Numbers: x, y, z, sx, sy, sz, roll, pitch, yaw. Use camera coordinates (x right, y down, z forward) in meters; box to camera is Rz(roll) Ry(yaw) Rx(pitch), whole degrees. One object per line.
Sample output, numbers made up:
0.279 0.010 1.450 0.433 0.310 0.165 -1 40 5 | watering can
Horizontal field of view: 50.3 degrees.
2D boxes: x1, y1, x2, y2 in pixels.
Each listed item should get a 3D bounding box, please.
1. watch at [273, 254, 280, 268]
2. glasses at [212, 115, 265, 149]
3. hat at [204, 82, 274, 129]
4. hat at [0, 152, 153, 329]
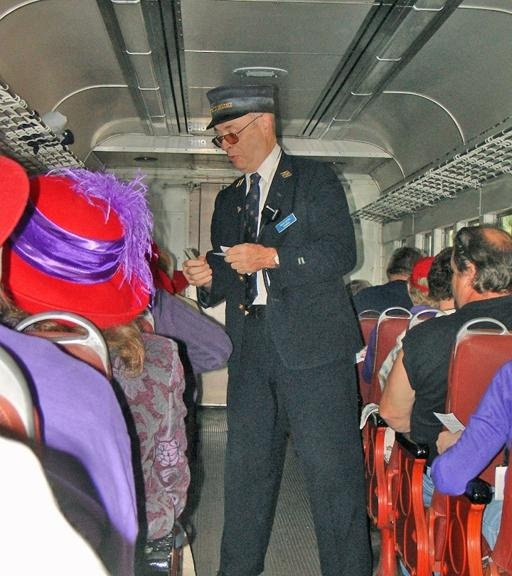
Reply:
0.079 -0.101 2.065 0.034 0.043 0.039 3 80 0 | watch
-0.050 -0.662 2.399 0.184 0.174 0.046 -31 101 -19 | glasses
-0.069 -0.838 2.498 0.355 0.240 0.141 -11 103 -14 | hat
-0.441 -0.121 1.358 0.419 0.127 0.383 13 52 -33 | hat
